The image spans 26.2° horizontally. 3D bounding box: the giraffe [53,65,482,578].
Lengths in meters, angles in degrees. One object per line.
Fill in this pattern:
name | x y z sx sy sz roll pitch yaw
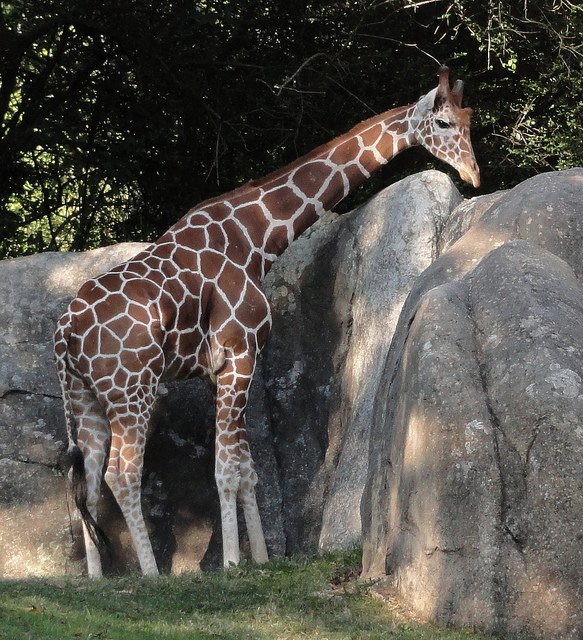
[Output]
giraffe | -0.482 0.091 10.328 3.065 3.585 1.148 -6 6 -44
